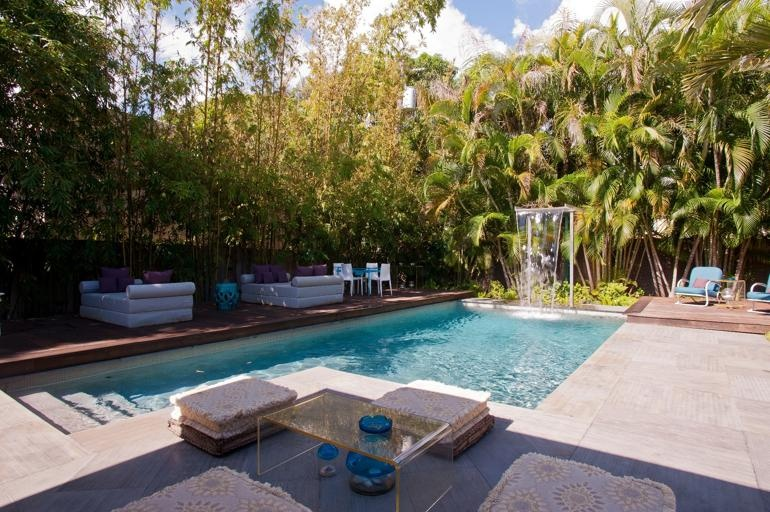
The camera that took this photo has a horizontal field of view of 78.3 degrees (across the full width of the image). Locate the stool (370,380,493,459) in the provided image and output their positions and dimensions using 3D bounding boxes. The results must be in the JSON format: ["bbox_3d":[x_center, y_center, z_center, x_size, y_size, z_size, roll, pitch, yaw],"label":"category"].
[{"bbox_3d":[0.532,1.544,4.845,0.714,0.314,0.791,1,6,30],"label":"stool"}]

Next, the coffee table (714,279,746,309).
[{"bbox_3d":[7.345,0.803,10.085,0.473,0.634,0.456,1,5,2],"label":"coffee table"}]

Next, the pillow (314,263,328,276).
[{"bbox_3d":[-1.437,0.297,10.620,0.299,0.246,0.112,0,-10,-20],"label":"pillow"}]

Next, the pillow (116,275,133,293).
[{"bbox_3d":[-4.606,0.487,8.334,0.258,0.294,0.094,3,-11,-37],"label":"pillow"}]

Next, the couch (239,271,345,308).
[{"bbox_3d":[-2.064,0.722,10.194,2.031,0.704,1.068,-3,0,18],"label":"couch"}]

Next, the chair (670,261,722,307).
[{"bbox_3d":[6.807,0.601,10.288,1.003,1.022,0.739,-6,2,-42],"label":"chair"}]

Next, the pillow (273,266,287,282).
[{"bbox_3d":[-2.352,0.410,10.644,0.331,0.341,0.099,6,-21,-44],"label":"pillow"}]
